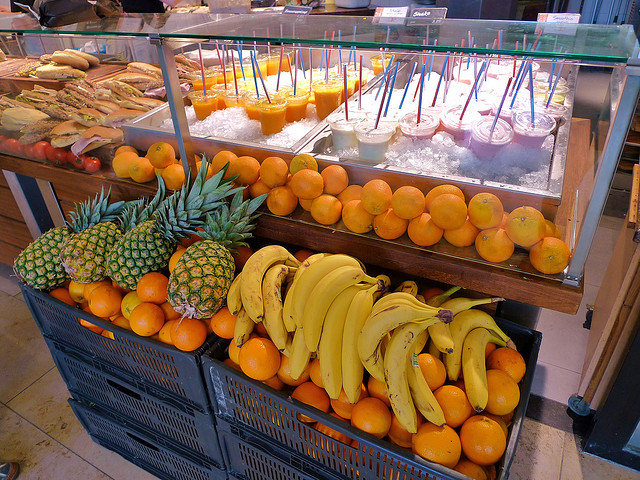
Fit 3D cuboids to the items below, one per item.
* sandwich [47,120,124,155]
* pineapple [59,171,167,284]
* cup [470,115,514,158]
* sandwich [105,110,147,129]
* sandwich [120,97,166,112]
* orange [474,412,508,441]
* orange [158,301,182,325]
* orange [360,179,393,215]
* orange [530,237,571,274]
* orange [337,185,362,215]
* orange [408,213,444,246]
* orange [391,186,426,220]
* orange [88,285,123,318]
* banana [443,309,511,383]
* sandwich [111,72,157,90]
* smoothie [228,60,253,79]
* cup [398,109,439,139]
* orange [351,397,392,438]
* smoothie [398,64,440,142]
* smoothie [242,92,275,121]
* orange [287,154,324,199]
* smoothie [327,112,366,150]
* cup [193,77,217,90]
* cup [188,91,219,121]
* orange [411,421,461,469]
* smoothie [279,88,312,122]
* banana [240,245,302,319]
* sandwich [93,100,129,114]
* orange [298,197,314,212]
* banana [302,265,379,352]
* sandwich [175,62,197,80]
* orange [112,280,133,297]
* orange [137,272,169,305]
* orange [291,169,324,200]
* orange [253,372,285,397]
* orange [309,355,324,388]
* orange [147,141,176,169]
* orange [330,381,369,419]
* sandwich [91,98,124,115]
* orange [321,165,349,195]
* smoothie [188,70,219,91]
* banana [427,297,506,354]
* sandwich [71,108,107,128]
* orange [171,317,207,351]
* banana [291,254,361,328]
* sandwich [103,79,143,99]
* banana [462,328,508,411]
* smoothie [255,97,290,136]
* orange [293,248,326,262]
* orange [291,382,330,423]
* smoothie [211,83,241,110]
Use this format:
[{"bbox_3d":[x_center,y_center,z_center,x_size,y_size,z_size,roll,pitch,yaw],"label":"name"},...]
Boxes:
[{"bbox_3d":[-1.314,-0.564,2.286,0.262,0.099,0.242,11,36,16],"label":"sandwich"},{"bbox_3d":[-1.077,-0.050,1.939,0.218,0.540,0.222,-11,-11,-6],"label":"pineapple"},{"bbox_3d":[0.723,-0.445,1.838,0.181,0.121,0.184,0,52,0],"label":"cup"},{"bbox_3d":[-1.113,-0.688,2.374,0.193,0.053,0.117,-20,-2,-3],"label":"sandwich"},{"bbox_3d":[-1.049,-0.806,2.447,0.254,0.052,0.162,12,33,13],"label":"sandwich"},{"bbox_3d":[0.622,0.653,1.514,0.088,0.092,0.090,-8,30,-10],"label":"orange"},{"bbox_3d":[-0.612,0.294,1.682,0.065,0.078,0.064,-52,42,-5],"label":"orange"},{"bbox_3d":[0.225,-0.179,1.697,0.143,0.170,0.136,-5,5,-37],"label":"orange"},{"bbox_3d":[0.827,0.059,1.545,0.126,0.129,0.125,4,5,3],"label":"orange"},{"bbox_3d":[0.138,-0.176,1.830,0.095,0.093,0.119,42,0,13],"label":"orange"},{"bbox_3d":[0.404,-0.034,1.619,0.120,0.123,0.144,-26,11,0],"label":"orange"},{"bbox_3d":[0.347,-0.141,1.674,0.122,0.124,0.117,-2,-8,0],"label":"orange"},{"bbox_3d":[-0.903,0.265,1.796,0.134,0.127,0.137,-6,68,-9],"label":"orange"},{"bbox_3d":[0.567,0.371,1.507,0.236,0.278,0.059,13,-12,1],"label":"banana"},{"bbox_3d":[-1.195,-1.013,2.653,0.246,0.083,0.134,-1,11,-25],"label":"sandwich"},{"bbox_3d":[-0.474,-1.028,2.490,0.117,0.115,0.121,4,33,9],"label":"smoothie"},{"bbox_3d":[0.460,-0.534,1.949,0.190,0.105,0.149,-7,33,-16],"label":"cup"},{"bbox_3d":[0.178,0.618,1.451,0.120,0.124,0.145,-5,2,-3],"label":"orange"},{"bbox_3d":[0.461,-0.585,1.925,0.193,0.215,0.146,6,32,6],"label":"smoothie"},{"bbox_3d":[-0.337,-0.709,2.179,0.144,0.118,0.156,-8,50,-6],"label":"smoothie"},{"bbox_3d":[-0.042,-0.295,1.882,0.161,0.163,0.297,-7,-7,8],"label":"orange"},{"bbox_3d":[0.128,-0.518,1.999,0.160,0.141,0.164,-3,40,0],"label":"smoothie"},{"bbox_3d":[-0.667,-0.894,2.397,0.138,0.079,0.137,2,32,-1],"label":"cup"},{"bbox_3d":[-0.628,-0.731,2.237,0.153,0.126,0.157,1,39,-1],"label":"cup"},{"bbox_3d":[0.414,0.721,1.451,0.152,0.149,0.150,-9,13,-6],"label":"orange"},{"bbox_3d":[-0.146,-0.706,2.224,0.164,0.135,0.169,1,37,0],"label":"smoothie"},{"bbox_3d":[-0.222,0.153,1.579,0.200,0.085,0.357,22,47,-7],"label":"banana"},{"bbox_3d":[-1.242,-0.782,2.440,0.133,0.048,0.138,-20,34,-32],"label":"sandwich"},{"bbox_3d":[-0.063,-0.155,1.817,0.057,0.068,0.053,0,10,-2],"label":"orange"},{"bbox_3d":[0.057,0.208,1.498,0.193,0.089,0.390,45,56,15],"label":"banana"},{"bbox_3d":[-0.905,-1.120,2.752,0.138,0.061,0.219,-7,45,-23],"label":"sandwich"},{"bbox_3d":[-0.890,0.222,1.850,0.073,0.090,0.076,-11,66,-5],"label":"orange"},{"bbox_3d":[-0.697,0.205,1.726,0.125,0.105,0.112,-7,33,-16],"label":"orange"},{"bbox_3d":[-0.061,-0.238,1.795,0.138,0.156,0.139,1,2,23],"label":"orange"},{"bbox_3d":[-0.187,0.555,1.600,0.062,0.075,0.064,4,30,-3],"label":"orange"},{"bbox_3d":[-0.019,0.499,1.561,0.082,0.100,0.083,-1,2,1],"label":"orange"},{"bbox_3d":[-0.759,-0.402,2.041,0.122,0.121,0.122,6,67,-3],"label":"orange"},{"bbox_3d":[0.098,0.611,1.533,0.117,0.144,0.120,3,22,-1],"label":"orange"},{"bbox_3d":[-1.263,-0.762,2.436,0.141,0.060,0.180,5,4,-7],"label":"sandwich"},{"bbox_3d":[0.061,-0.265,1.845,0.120,0.150,0.125,3,8,12],"label":"orange"},{"bbox_3d":[-0.682,-0.927,2.451,0.150,0.114,0.154,-1,32,-3],"label":"smoothie"},{"bbox_3d":[0.499,0.285,1.562,0.216,0.084,0.259,9,15,36],"label":"banana"},{"bbox_3d":[-1.333,-0.700,2.409,0.149,0.052,0.137,-27,48,-24],"label":"sandwich"},{"bbox_3d":[-0.506,0.369,1.606,0.122,0.123,0.123,-1,6,3],"label":"orange"},{"bbox_3d":[-0.003,0.188,1.543,0.196,0.261,0.067,8,-17,25],"label":"banana"},{"bbox_3d":[-1.215,-0.919,2.538,0.209,0.078,0.073,28,67,12],"label":"sandwich"},{"bbox_3d":[0.618,0.486,1.574,0.170,0.094,0.379,7,40,21],"label":"banana"},{"bbox_3d":[-0.243,-0.610,2.060,0.144,0.175,0.111,-3,32,-9],"label":"smoothie"},{"bbox_3d":[-0.062,0.057,1.887,0.108,0.061,0.056,-6,22,-14],"label":"orange"},{"bbox_3d":[-0.029,0.576,1.539,0.131,0.157,0.133,3,2,-2],"label":"orange"},{"bbox_3d":[-0.538,-0.821,2.436,0.144,0.157,0.164,-1,36,-1],"label":"smoothie"}]
